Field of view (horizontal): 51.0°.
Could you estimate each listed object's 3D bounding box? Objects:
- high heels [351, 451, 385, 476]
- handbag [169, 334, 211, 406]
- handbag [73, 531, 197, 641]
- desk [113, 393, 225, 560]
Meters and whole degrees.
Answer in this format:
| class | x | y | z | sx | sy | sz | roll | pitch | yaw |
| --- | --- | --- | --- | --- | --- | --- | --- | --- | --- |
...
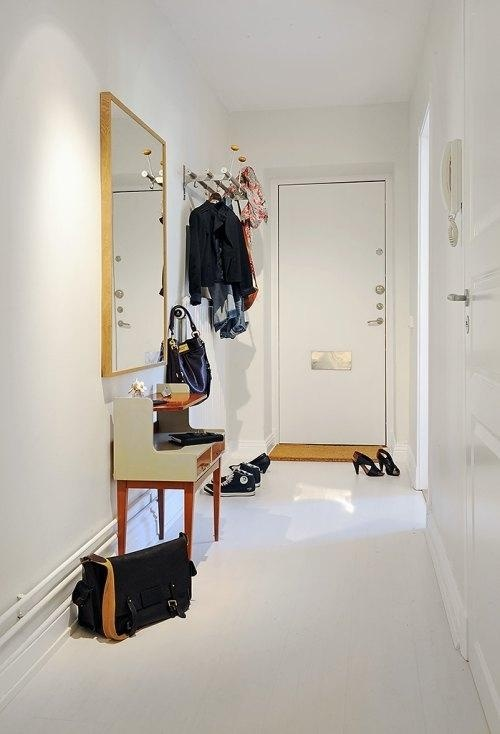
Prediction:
| class | x | y | z | sx | sy | sz | roll | pitch | yaw |
| --- | --- | --- | --- | --- | --- | --- | --- | --- | --- |
| high heels | 0.818 | 0.656 | 3.621 | 0.238 | 0.210 | 0.100 | 1 | 3 | 20 |
| handbag | -0.303 | 0.009 | 2.586 | 0.176 | 0.441 | 0.271 | 7 | 10 | 40 |
| handbag | -0.334 | 0.539 | 1.605 | 0.192 | 0.294 | 0.384 | -5 | -4 | 33 |
| desk | -0.339 | 0.459 | 2.125 | 0.215 | 0.654 | 0.576 | -1 | -2 | 5 |
